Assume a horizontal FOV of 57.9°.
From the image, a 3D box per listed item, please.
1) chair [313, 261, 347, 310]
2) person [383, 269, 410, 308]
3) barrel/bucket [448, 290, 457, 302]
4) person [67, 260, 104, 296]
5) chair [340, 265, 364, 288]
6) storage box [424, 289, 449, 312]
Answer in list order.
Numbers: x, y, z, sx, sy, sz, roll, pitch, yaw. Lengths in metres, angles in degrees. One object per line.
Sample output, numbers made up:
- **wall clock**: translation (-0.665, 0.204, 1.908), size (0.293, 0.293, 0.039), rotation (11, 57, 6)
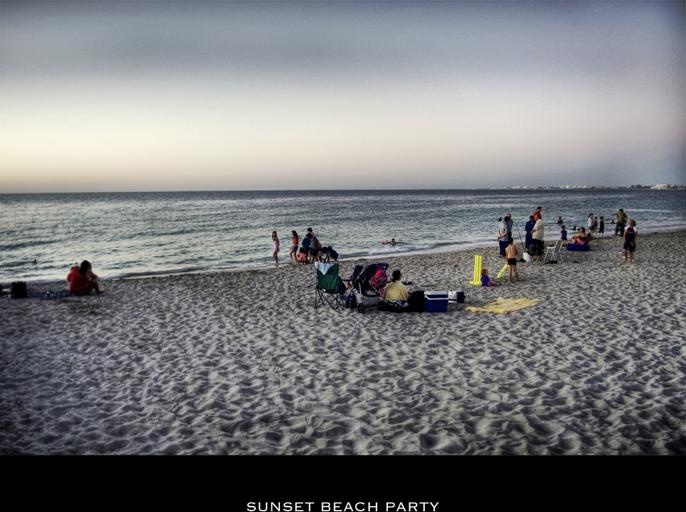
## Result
- **chair**: translation (-0.241, 0.637, 14.138), size (0.852, 1.214, 0.981), rotation (0, -2, 13)
- **person**: translation (1.146, 0.695, 13.329), size (0.556, 0.791, 0.461), rotation (0, 10, 5)
- **barrel/bucket**: translation (2.468, 0.896, 13.949), size (0.172, 0.237, 0.226), rotation (-3, -12, 36)
- **person**: translation (-6.897, 0.508, 16.415), size (1.018, 1.132, 0.850), rotation (-2, 10, -22)
- **chair**: translation (0.237, 0.478, 13.678), size (0.390, 0.495, 0.695), rotation (-3, 10, -13)
- **storage box**: translation (2.020, 0.993, 13.302), size (0.486, 0.328, 0.378), rotation (0, 2, -1)
